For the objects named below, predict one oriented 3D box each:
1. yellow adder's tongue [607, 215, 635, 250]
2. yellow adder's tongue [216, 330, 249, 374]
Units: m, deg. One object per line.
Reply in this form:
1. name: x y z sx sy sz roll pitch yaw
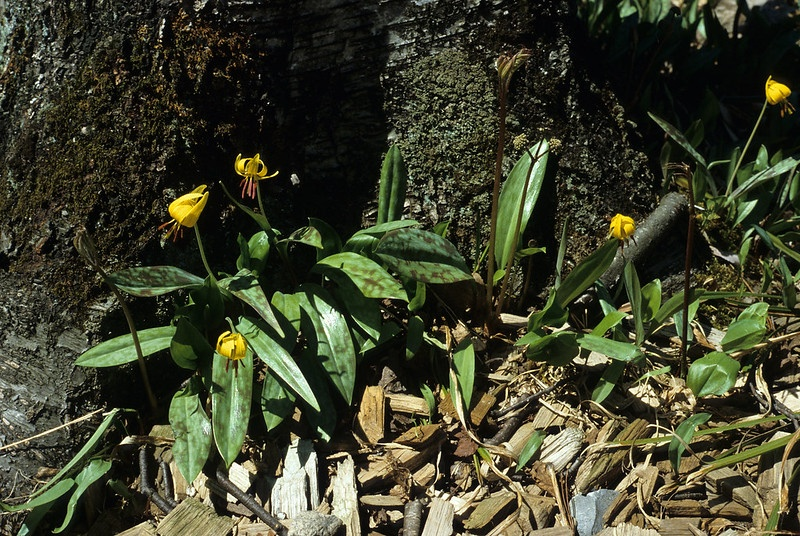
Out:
1. yellow adder's tongue: 1.067 -0.179 4.241 0.137 0.207 0.174 1 4 -2
2. yellow adder's tongue: -0.760 0.397 4.064 0.109 0.157 0.111 -6 8 -39
